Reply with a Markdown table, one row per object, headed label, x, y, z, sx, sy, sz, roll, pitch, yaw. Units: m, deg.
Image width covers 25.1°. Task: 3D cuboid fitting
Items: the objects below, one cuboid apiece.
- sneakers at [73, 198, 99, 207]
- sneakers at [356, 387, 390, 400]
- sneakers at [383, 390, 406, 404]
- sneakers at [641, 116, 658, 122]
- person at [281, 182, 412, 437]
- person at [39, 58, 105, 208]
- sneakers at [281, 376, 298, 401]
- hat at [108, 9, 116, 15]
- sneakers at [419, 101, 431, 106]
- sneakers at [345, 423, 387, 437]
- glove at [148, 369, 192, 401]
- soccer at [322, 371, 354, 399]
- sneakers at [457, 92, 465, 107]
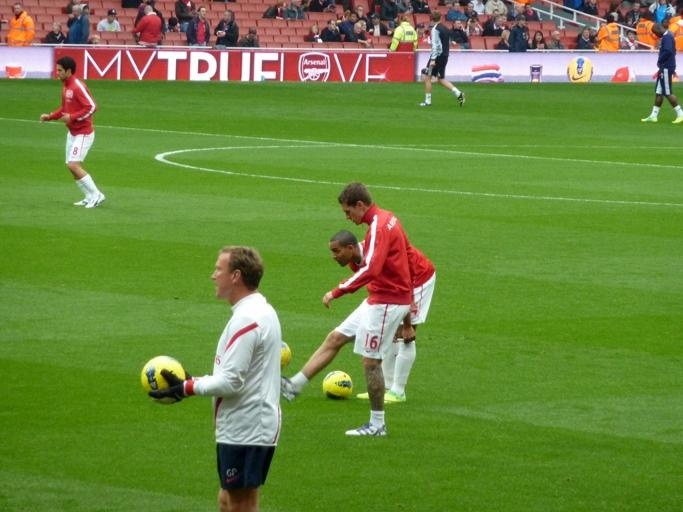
| label | x | y | z | sx | sy | sz | roll | pitch | yaw |
| --- | --- | --- | --- | --- | --- | --- | --- | --- | --- |
| sneakers | -4.691 | -0.968 | 27.554 | 0.444 | 0.201 | 0.164 | 2 | 3 | 24 |
| sneakers | 0.400 | 1.855 | 20.541 | 0.479 | 0.217 | 0.166 | 2 | 0 | 42 |
| sneakers | 0.697 | 1.867 | 20.365 | 0.271 | 0.122 | 0.145 | 4 | -2 | -8 |
| sneakers | 7.788 | -3.490 | 38.887 | 0.452 | 0.221 | 0.168 | 4 | 4 | 4 |
| person | 0.408 | 0.666 | 19.600 | 0.964 | 3.174 | 0.767 | 1 | 9 | 2 |
| person | -4.724 | -2.207 | 27.241 | 0.949 | 2.666 | 0.768 | 6 | 11 | 28 |
| sneakers | -0.671 | 1.597 | 18.581 | 0.188 | 0.261 | 0.119 | -23 | 18 | 44 |
| hat | -6.936 | -7.353 | 45.936 | 0.266 | 0.208 | 0.384 | 0 | 7 | -26 |
| sneakers | 2.140 | -4.041 | 40.277 | 0.356 | 0.160 | 0.121 | 6 | 11 | 24 |
| sneakers | 0.314 | 2.233 | 19.603 | 0.556 | 0.214 | 0.193 | 2 | -6 | -3 |
| glove | -1.986 | 1.503 | 17.510 | 0.410 | 0.325 | 0.355 | -32 | -20 | 1 |
| soccer | -0.037 | 1.695 | 20.444 | 0.363 | 0.358 | 0.352 | -11 | -25 | -28 |
| sneakers | 3.109 | -4.160 | 40.373 | 0.218 | 0.182 | 0.508 | 0 | -29 | 10 |
